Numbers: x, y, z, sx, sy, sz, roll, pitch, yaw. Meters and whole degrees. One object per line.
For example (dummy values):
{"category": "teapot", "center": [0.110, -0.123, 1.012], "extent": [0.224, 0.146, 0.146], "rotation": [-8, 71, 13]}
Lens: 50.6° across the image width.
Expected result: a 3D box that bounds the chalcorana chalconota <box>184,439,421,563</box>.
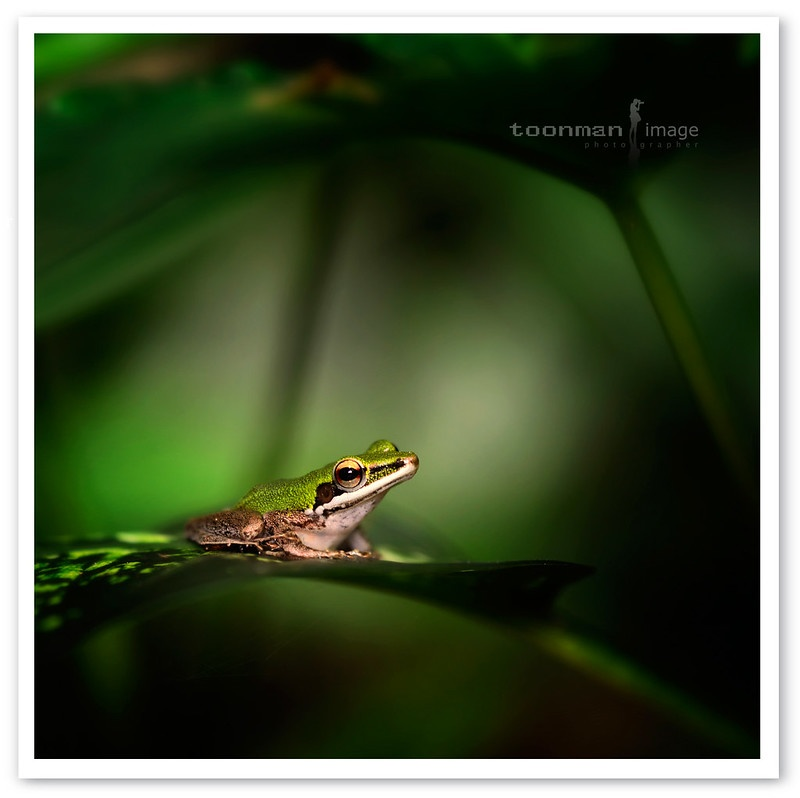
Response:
{"category": "chalcorana chalconota", "center": [-0.262, 0.321, 2.588], "extent": [0.786, 0.290, 0.567], "rotation": [-3, 0, 32]}
